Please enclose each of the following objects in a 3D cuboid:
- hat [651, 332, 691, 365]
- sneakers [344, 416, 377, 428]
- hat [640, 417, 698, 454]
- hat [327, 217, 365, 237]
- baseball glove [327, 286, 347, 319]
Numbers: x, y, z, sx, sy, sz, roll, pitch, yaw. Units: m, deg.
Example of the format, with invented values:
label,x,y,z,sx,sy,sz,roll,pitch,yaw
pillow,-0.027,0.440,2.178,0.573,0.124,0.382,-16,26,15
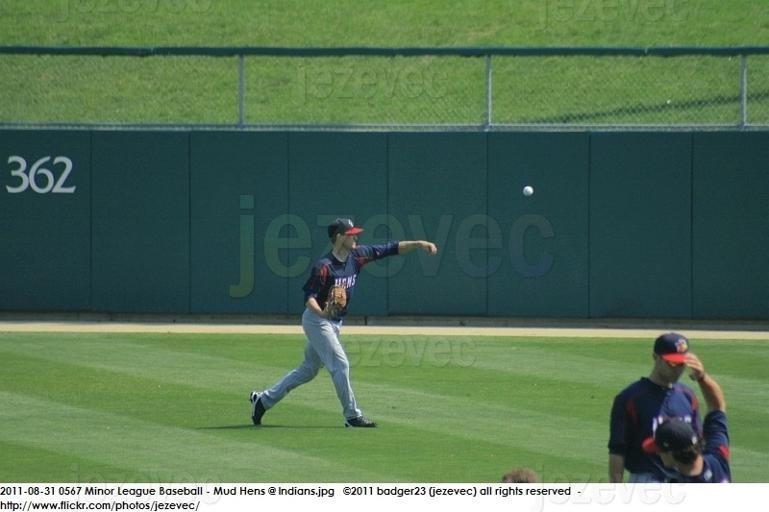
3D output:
label,x,y,z,sx,sy,sz,roll,pitch,yaw
hat,4.978,1.596,30.225,0.425,0.344,0.612,-1,4,-2
sneakers,-0.479,3.174,33.213,0.649,0.283,0.224,0,3,-2
hat,4.904,3.146,29.799,0.738,0.687,0.554,-11,36,12
hat,-0.794,-0.566,33.292,0.635,0.342,0.454,0,4,-4
baseball glove,-0.933,0.859,32.911,0.348,0.547,0.188,16,-7,-15
